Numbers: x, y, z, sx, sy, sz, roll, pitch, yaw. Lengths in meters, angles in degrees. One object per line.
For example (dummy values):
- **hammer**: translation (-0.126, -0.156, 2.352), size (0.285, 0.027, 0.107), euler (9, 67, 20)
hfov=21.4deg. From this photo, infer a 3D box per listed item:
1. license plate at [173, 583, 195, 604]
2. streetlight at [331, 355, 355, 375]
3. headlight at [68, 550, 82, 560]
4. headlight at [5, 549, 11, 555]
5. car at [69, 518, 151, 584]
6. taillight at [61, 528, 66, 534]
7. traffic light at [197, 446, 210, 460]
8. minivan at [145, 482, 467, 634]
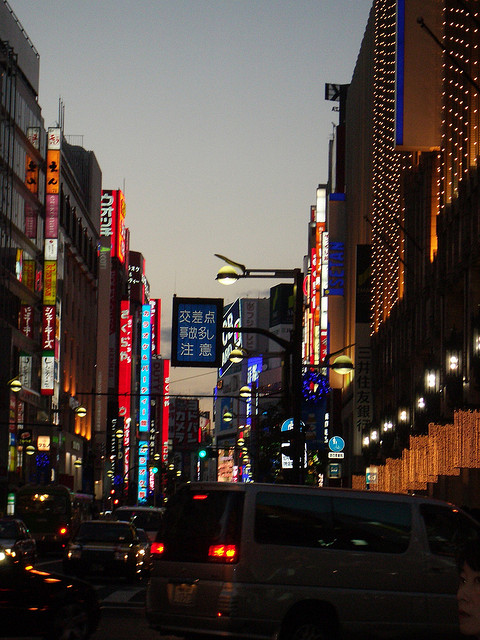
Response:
- **license plate**: translation (-0.589, 2.967, 13.728), size (0.181, 0.215, 0.020), euler (-11, -17, 15)
- **streetlight**: translation (2.330, 1.126, 28.393), size (0.463, 0.505, 0.591), euler (-3, 9, -4)
- **headlight**: translation (-3.509, 5.026, 27.112), size (0.321, 0.207, 0.149), euler (-9, -5, 13)
- **headlight**: translation (-4.156, 4.176, 22.826), size (0.088, 0.093, 0.133), euler (-9, -5, 17)
- **car**: translation (-2.886, 5.181, 27.888), size (1.427, 1.513, 1.911), euler (-8, -5, 1)
- **taillight**: translation (-6.098, 7.330, 43.954), size (0.142, 0.165, 0.189), euler (-10, -6, 31)
- **traffic light**: translation (-1.674, 6.357, 60.602), size (0.582, 0.857, 0.656), euler (-4, 0, -6)
- **minivan**: translation (0.696, 2.647, 13.794), size (3.953, 1.975, 1.748), euler (2, -8, -17)
